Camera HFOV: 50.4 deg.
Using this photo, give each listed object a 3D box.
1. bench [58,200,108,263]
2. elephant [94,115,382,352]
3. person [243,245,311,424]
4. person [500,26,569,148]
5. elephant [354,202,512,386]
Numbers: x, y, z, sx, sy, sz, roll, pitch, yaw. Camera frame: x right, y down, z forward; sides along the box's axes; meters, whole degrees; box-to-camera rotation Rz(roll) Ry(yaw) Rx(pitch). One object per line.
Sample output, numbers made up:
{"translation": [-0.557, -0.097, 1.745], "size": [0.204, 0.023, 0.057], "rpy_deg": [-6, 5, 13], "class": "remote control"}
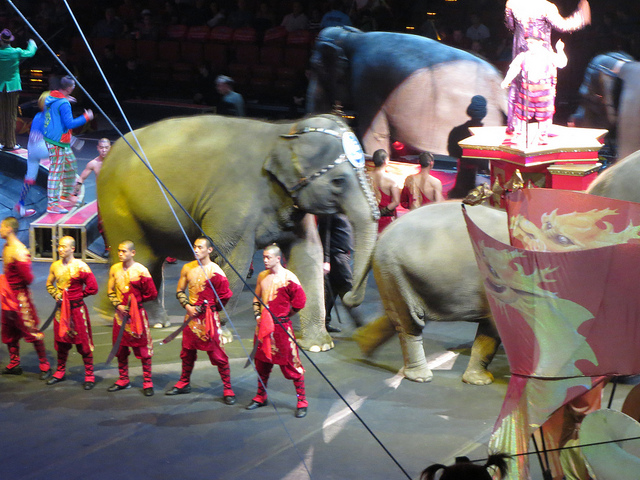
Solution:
{"translation": [-3.185, -0.239, 9.025], "size": [0.723, 0.545, 1.131], "rpy_deg": [4, 33, -15], "class": "bench"}
{"translation": [-0.819, 0.001, 6.707], "size": [3.203, 1.840, 1.284], "rpy_deg": [3, -3, 31], "class": "elephant"}
{"translation": [-0.397, 0.737, 5.356], "size": [0.576, 1.333, 1.411], "rpy_deg": [-6, 19, -3], "class": "person"}
{"translation": [2.097, -1.505, 6.748], "size": [0.584, 1.171, 0.572], "rpy_deg": [0, 22, 13], "class": "person"}
{"translation": [0.968, 0.460, 5.574], "size": [0.790, 1.639, 1.631], "rpy_deg": [-13, 21, -20], "class": "elephant"}
